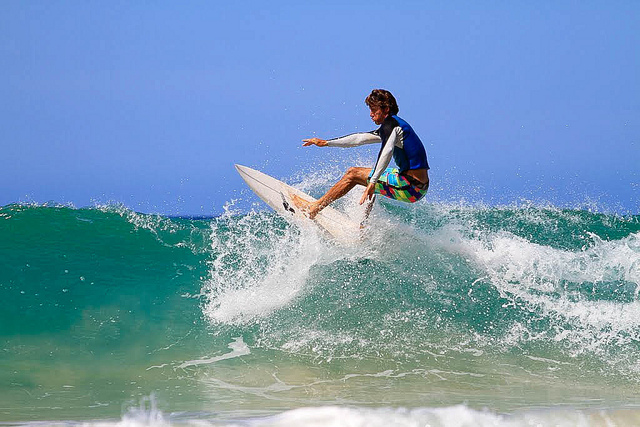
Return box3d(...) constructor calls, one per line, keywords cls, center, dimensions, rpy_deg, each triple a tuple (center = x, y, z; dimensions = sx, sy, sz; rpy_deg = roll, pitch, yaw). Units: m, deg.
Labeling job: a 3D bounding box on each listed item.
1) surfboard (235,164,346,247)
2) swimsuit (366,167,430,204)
box3d(cls="surfboard", center=(-0.469, 0.009, 11.928), dimensions=(2.221, 0.467, 0.253), rpy_deg=(31, -8, 25))
box3d(cls="swimsuit", center=(1.080, -0.379, 11.703), dimensions=(1.283, 0.455, 0.661), rpy_deg=(6, -3, 16))
